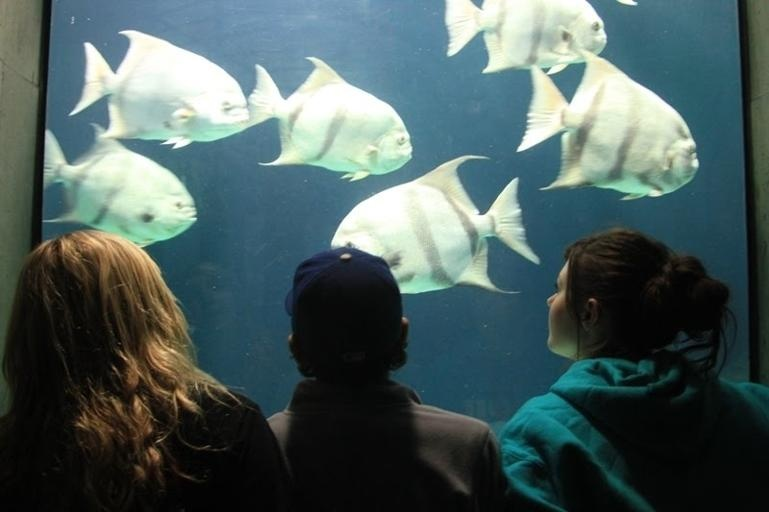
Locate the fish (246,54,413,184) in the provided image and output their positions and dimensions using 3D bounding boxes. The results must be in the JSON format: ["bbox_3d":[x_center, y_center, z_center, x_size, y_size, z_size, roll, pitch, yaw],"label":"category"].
[{"bbox_3d":[-0.275,-0.693,4.402,0.787,0.622,0.196,-3,-10,1],"label":"fish"}]

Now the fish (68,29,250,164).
[{"bbox_3d":[-1.135,-0.757,4.242,0.707,0.419,0.193,7,-1,-9],"label":"fish"}]
